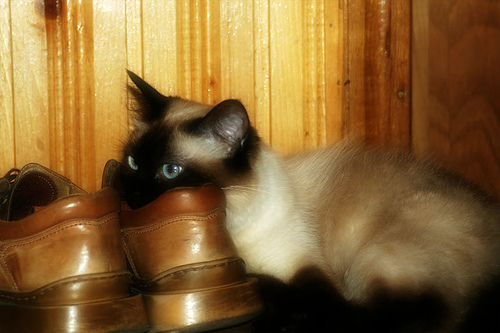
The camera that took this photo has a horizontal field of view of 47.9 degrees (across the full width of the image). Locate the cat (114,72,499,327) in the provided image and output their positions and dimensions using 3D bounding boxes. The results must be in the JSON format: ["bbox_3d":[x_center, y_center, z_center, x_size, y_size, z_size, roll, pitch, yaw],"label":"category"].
[{"bbox_3d":[0.336,0.175,1.981,1.489,0.846,0.523,11,-16,-11],"label":"cat"}]
